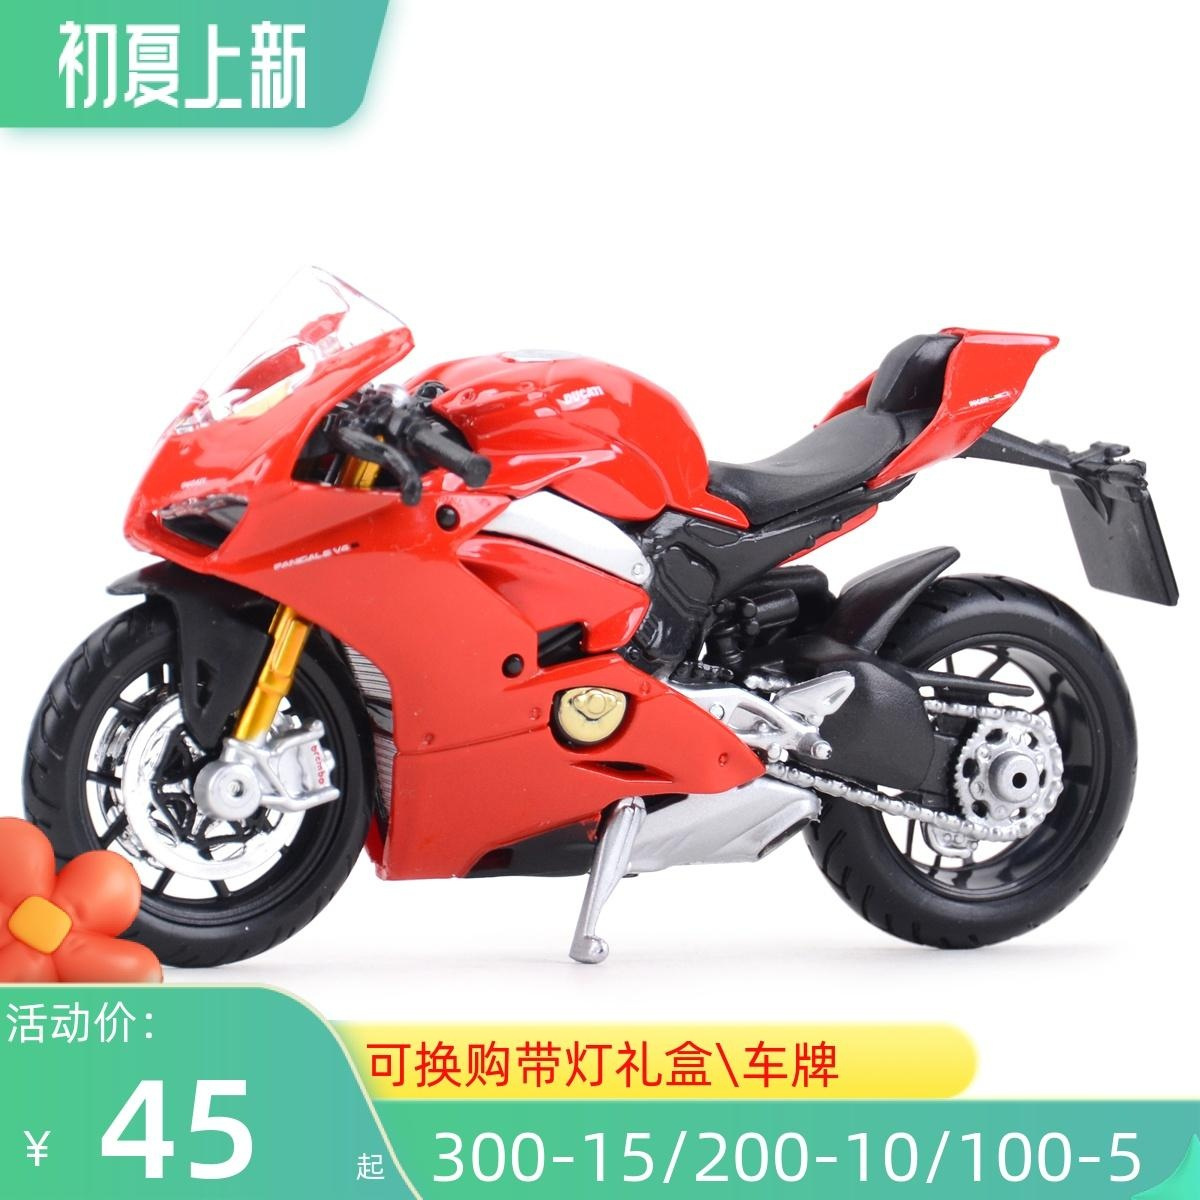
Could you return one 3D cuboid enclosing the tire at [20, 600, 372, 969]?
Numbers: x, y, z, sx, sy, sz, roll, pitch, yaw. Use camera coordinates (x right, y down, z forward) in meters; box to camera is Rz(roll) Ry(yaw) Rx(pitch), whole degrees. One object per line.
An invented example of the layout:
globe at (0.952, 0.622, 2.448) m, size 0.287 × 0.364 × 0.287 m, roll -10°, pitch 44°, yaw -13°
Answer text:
tire at (-0.734, 0.312, 2.164) m, size 0.667 × 0.536 × 0.122 m, roll 34°, pitch -9°, yaw -16°
